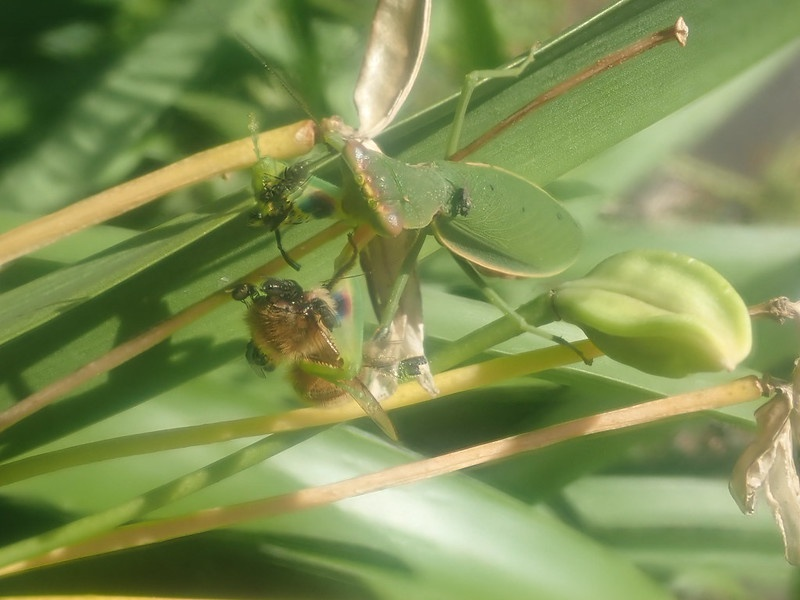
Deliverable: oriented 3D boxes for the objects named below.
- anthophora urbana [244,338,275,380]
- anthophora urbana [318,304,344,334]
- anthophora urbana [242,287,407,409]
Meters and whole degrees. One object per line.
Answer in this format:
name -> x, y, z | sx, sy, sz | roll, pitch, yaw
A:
anthophora urbana -> -0.193, 0.090, 1.171 | 0.025, 0.062, 0.046 | 32, 19, -29
anthophora urbana -> -0.093, 0.026, 1.116 | 0.031, 0.036, 0.011 | -26, -7, -1
anthophora urbana -> -0.116, 0.060, 1.131 | 0.222, 0.170, 0.086 | 1, 1, 1
